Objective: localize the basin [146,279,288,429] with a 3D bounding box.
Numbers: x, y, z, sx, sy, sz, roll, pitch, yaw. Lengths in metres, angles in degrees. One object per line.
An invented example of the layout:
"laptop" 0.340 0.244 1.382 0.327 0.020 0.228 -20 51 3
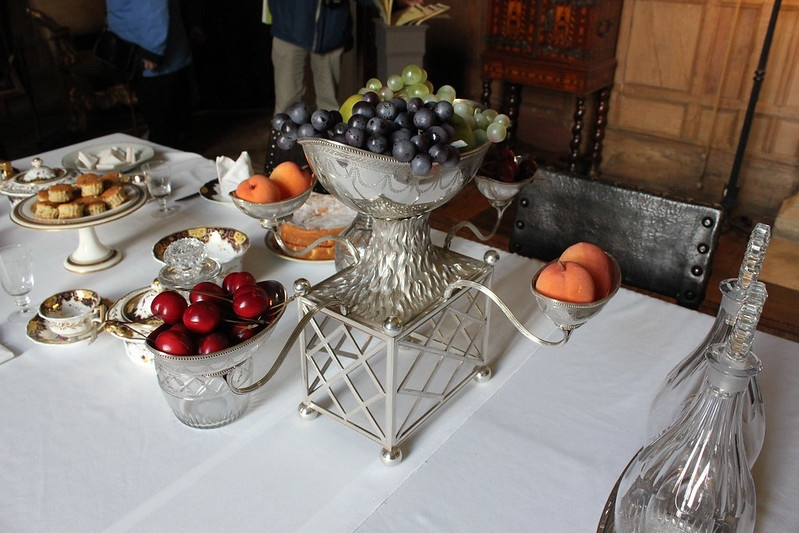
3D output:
"basin" -0.323 0.178 1.074 0.270 0.196 0.253 -2 24 1

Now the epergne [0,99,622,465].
"epergne" -0.054 0.062 1.057 0.725 0.400 0.735 22 38 37

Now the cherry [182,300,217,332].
"cherry" -0.348 0.088 0.948 0.043 0.048 0.058 -2 1 9

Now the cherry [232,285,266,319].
"cherry" -0.273 0.065 0.984 0.058 0.050 0.044 7 34 3

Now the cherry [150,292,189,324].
"cherry" -0.425 0.078 0.993 0.041 0.045 0.050 -22 10 -6
